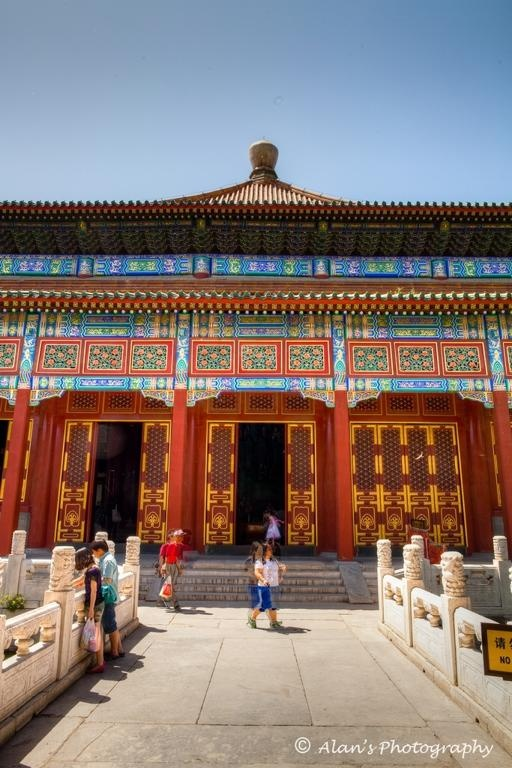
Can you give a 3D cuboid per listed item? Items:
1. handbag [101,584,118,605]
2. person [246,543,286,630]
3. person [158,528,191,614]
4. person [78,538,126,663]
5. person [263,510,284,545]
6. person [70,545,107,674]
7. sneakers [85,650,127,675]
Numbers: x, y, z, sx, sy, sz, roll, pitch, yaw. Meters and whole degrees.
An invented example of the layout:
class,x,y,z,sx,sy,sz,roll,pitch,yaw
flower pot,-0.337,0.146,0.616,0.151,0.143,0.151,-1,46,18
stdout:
class,x,y,z,sx,sy,sz,roll,pitch,yaw
handbag,-1.550,2.208,5.027,0.115,0.223,0.219,-8,-18,2
person,0.140,3.062,7.437,0.509,1.227,1.287,0,-11,0
person,-1.519,3.278,8.663,0.452,1.275,0.356,-8,-28,25
person,-1.670,2.382,5.163,0.519,1.542,0.541,-4,-51,-15
person,0.411,3.525,11.724,0.412,0.815,1.106,-2,-12,12
person,-1.690,2.289,4.883,0.315,1.180,0.460,-1,-12,7
sneakers,-1.542,2.874,4.876,0.358,0.141,0.117,8,-25,-16
